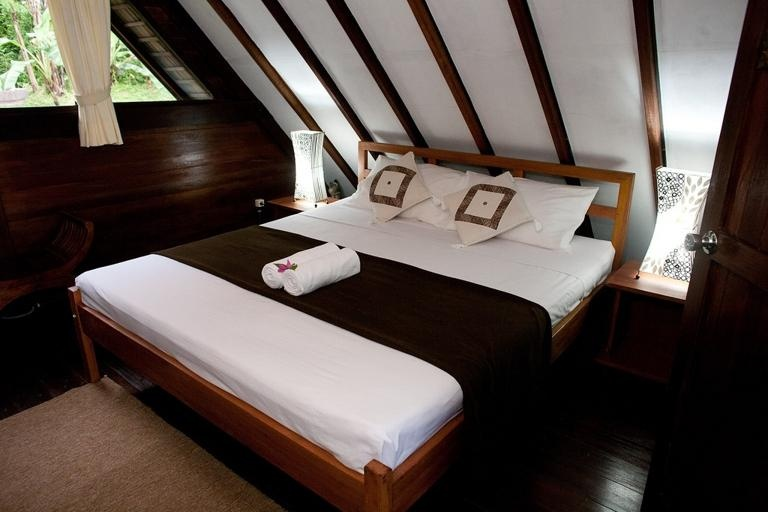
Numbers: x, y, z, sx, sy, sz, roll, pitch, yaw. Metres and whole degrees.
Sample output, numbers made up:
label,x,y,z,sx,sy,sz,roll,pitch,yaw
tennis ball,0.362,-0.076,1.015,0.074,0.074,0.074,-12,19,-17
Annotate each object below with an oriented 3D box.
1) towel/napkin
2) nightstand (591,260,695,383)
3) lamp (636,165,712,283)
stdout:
label,x,y,z,sx,sy,sz,roll,pitch,yaw
towel/napkin,-0.425,0.067,2.883,0.332,0.153,0.427,14,25,39
nightstand,1.762,0.494,3.506,0.803,0.817,0.746,13,22,32
lamp,1.945,-0.216,3.147,0.318,0.718,0.338,12,28,27
